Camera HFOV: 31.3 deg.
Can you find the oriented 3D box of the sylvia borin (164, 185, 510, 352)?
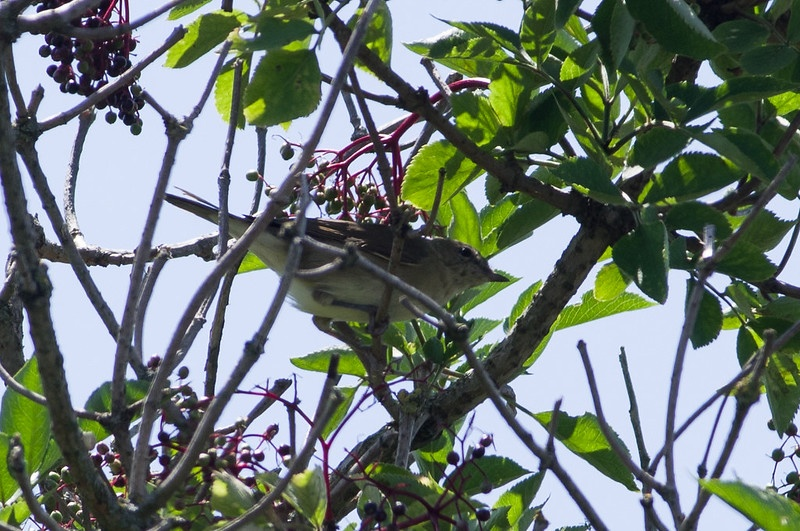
[{"bbox_3d":[-0.159,0.001,6.937,0.986,0.388,0.333,27,-51,8],"label":"sylvia borin"}]
